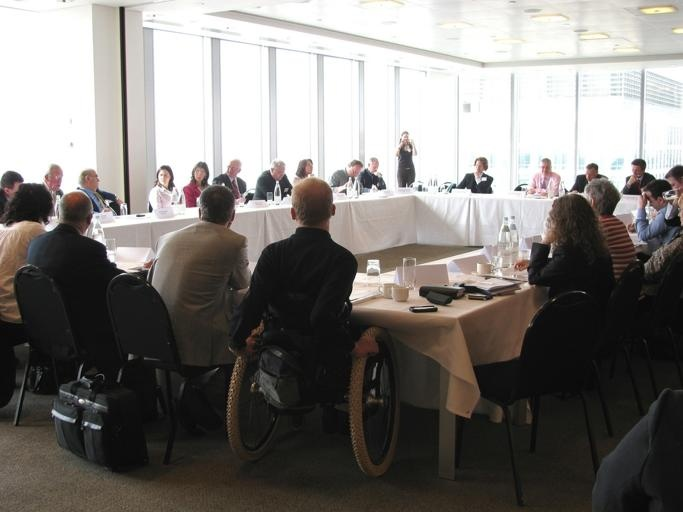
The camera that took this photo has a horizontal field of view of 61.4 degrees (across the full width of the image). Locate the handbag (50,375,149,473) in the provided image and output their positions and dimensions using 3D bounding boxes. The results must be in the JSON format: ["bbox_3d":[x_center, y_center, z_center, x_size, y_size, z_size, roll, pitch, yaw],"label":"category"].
[{"bbox_3d":[-1.238,0.812,2.918,0.431,0.432,0.261,6,13,24],"label":"handbag"}]

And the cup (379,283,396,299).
[{"bbox_3d":[0.245,0.186,3.084,0.078,0.065,0.052,2,4,32],"label":"cup"}]

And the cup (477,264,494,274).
[{"bbox_3d":[0.896,0.085,3.633,0.056,0.060,0.076,-3,-3,37],"label":"cup"}]

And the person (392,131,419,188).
[{"bbox_3d":[1.172,-1.758,10.579,0.347,0.998,0.724,1,11,6],"label":"person"}]

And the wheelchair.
[{"bbox_3d":[-0.167,0.652,2.978,0.641,1.027,0.821,4,13,31],"label":"wheelchair"}]

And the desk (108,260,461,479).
[{"bbox_3d":[-0.179,0.381,3.307,0.934,1.322,1.455,2,9,23],"label":"desk"}]

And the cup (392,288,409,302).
[{"bbox_3d":[0.303,0.202,2.981,0.073,0.062,0.059,-1,3,20],"label":"cup"}]

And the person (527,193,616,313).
[{"bbox_3d":[1.324,0.110,3.387,0.447,0.988,0.454,0,19,16],"label":"person"}]

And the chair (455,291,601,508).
[{"bbox_3d":[0.927,0.607,2.742,0.612,0.923,0.456,-7,13,-32],"label":"chair"}]

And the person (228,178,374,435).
[{"bbox_3d":[-0.159,0.143,2.671,0.658,0.979,0.324,3,11,15],"label":"person"}]
